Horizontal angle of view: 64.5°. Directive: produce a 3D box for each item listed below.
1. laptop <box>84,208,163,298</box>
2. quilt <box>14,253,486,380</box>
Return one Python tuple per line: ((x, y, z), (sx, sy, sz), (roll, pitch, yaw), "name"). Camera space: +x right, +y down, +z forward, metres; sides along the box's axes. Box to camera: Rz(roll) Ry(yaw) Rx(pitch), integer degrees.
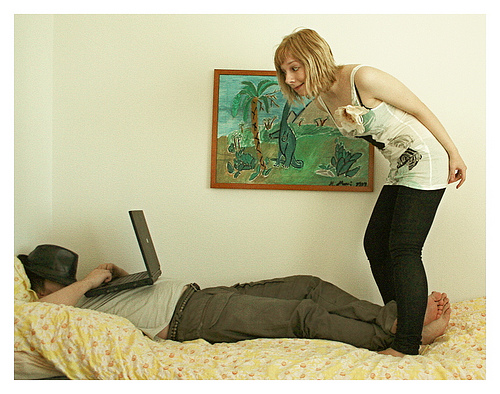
((-0.732, 0.308, 2.270), (0.335, 0.398, 0.423), (-11, -2, -8), "laptop")
((-0.063, 0.540, 1.759), (2.159, 0.418, 0.390), (1, 11, 4), "quilt")
